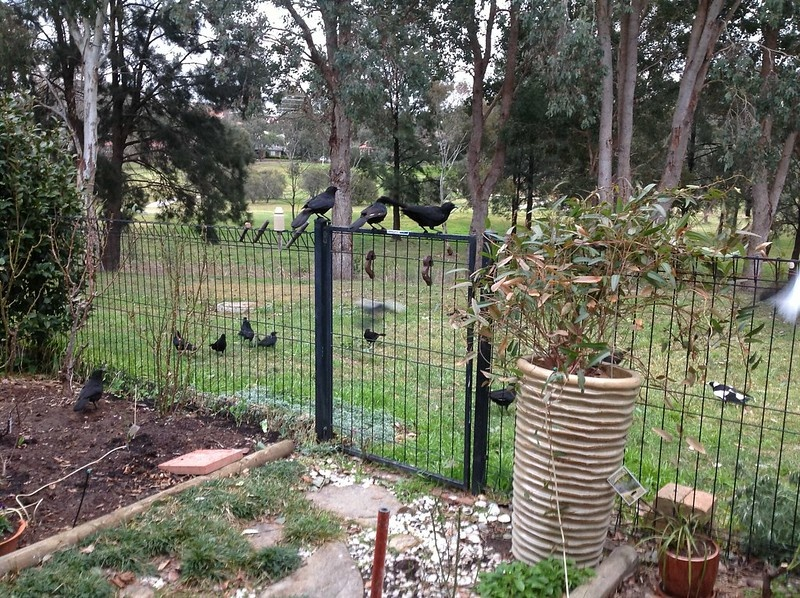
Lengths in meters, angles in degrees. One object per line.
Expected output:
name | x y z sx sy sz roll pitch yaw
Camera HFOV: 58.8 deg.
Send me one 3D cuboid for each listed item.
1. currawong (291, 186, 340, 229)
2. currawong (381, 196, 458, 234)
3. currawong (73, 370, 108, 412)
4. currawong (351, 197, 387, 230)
currawong | -0.892 -1.030 7.798 0.215 0.361 0.659 9 21 44
currawong | 0.267 -0.860 7.356 0.423 0.354 0.892 4 5 20
currawong | -3.444 1.007 7.842 0.285 0.467 0.475 1 5 -26
currawong | -0.282 -0.908 7.455 0.525 0.356 0.204 -16 20 -38
